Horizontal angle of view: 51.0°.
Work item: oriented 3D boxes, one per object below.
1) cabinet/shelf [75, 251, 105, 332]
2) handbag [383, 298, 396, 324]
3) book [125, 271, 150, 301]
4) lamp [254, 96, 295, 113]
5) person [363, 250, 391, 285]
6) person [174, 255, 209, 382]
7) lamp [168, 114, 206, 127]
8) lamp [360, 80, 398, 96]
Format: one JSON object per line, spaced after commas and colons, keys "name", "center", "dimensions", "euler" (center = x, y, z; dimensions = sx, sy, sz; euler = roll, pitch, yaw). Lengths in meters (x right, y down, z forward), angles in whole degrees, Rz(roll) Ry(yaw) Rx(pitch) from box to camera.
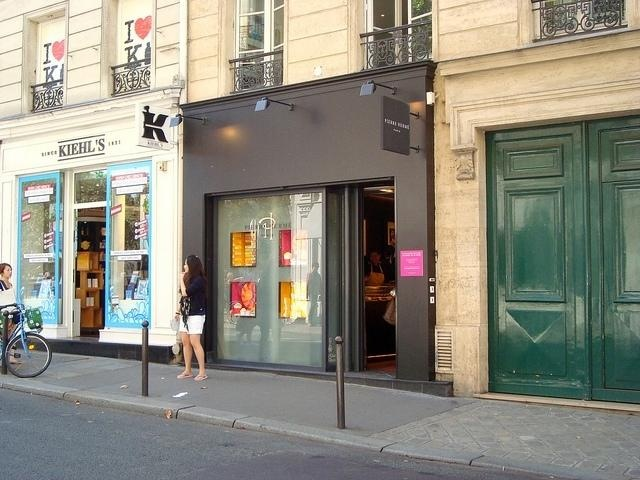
{"name": "cabinet/shelf", "center": [-5.914, 1.230, 17.232], "dimensions": [0.406, 1.957, 0.891], "euler": [-3, -3, 21]}
{"name": "handbag", "center": [1.405, 1.486, 13.769], "dimensions": [0.239, 0.528, 0.534], "euler": [-2, -3, 5]}
{"name": "book", "center": [-3.959, 0.999, 14.578], "dimensions": [0.242, 0.560, 0.535], "euler": [-3, -11, 22]}
{"name": "lamp", "center": [-0.902, -2.513, 12.800], "dimensions": [0.611, 0.243, 0.331], "euler": [9, -7, -43]}
{"name": "person", "center": [1.289, 0.633, 14.876], "dimensions": [0.543, 0.727, 1.602], "euler": [-2, -3, 9]}
{"name": "person", "center": [-2.313, 1.395, 12.061], "dimensions": [0.490, 2.218, 0.557], "euler": [-1, -3, -20]}
{"name": "lamp", "center": [-2.808, -2.458, 13.698], "dimensions": [0.447, 0.187, 0.449], "euler": [-1, -3, 43]}
{"name": "lamp", "center": [0.962, -2.597, 11.606], "dimensions": [0.507, 0.248, 0.280], "euler": [8, -1, -41]}
